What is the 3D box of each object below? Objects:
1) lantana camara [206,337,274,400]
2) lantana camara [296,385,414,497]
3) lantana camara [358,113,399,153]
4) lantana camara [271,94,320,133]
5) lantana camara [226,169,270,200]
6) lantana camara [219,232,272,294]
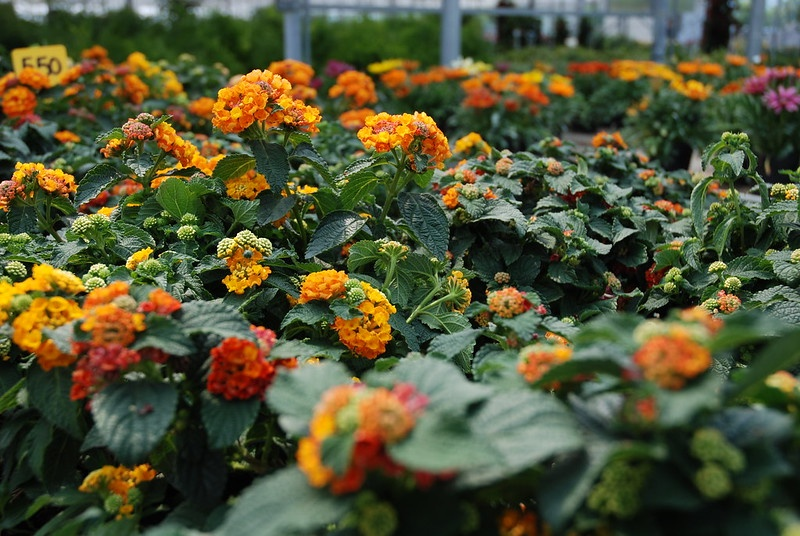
[{"bbox_3d":[-0.630,0.392,3.102,0.233,0.246,0.167,33,-16,-4],"label":"lantana camara"},{"bbox_3d":[-0.155,0.568,2.701,0.348,0.388,0.137,18,-18,6],"label":"lantana camara"},{"bbox_3d":[-0.085,-0.637,3.708,0.224,0.174,0.172,3,18,17],"label":"lantana camara"},{"bbox_3d":[-0.508,-0.709,3.703,0.170,0.085,0.185,-1,35,-30],"label":"lantana camara"},{"bbox_3d":[-0.801,-0.438,4.038,0.210,0.111,0.290,-7,19,-14],"label":"lantana camara"},{"bbox_3d":[-0.705,-0.044,3.609,0.247,0.159,0.269,18,34,10],"label":"lantana camara"}]
